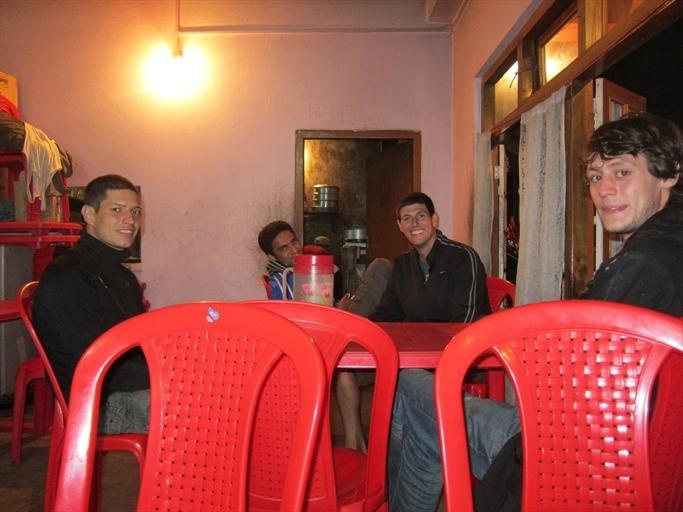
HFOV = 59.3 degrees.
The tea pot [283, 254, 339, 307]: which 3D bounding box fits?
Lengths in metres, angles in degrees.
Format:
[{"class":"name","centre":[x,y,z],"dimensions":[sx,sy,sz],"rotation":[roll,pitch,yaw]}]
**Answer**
[{"class":"tea pot","centre":[-0.127,0.093,2.572],"dimensions":[0.213,0.242,0.144],"rotation":[-1,-4,5]}]
